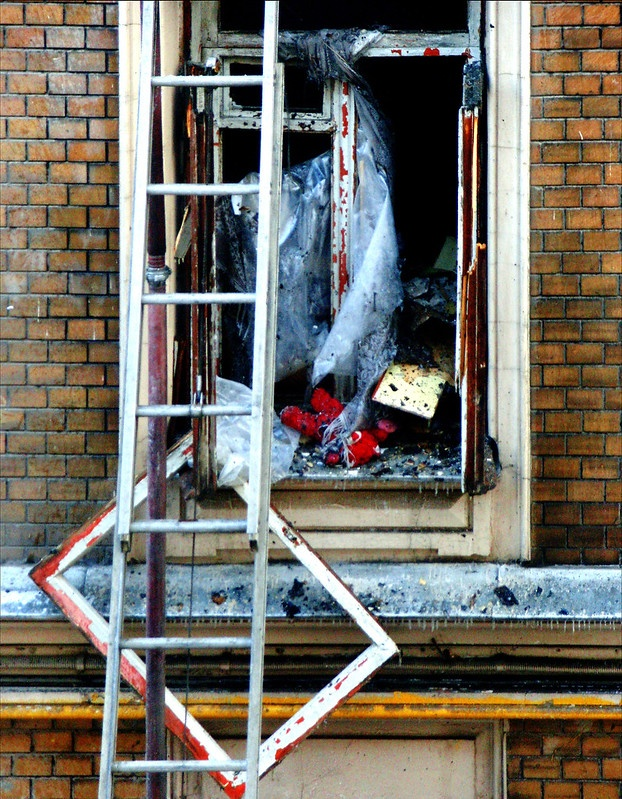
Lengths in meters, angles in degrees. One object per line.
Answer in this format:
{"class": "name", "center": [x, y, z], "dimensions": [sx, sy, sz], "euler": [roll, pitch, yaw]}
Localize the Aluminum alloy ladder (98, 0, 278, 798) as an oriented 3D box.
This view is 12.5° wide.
{"class": "Aluminum alloy ladder", "center": [-0.391, 0.000, 9.689], "dimensions": [0.541, 2.653, 0.506], "euler": [2, 2, -1]}
